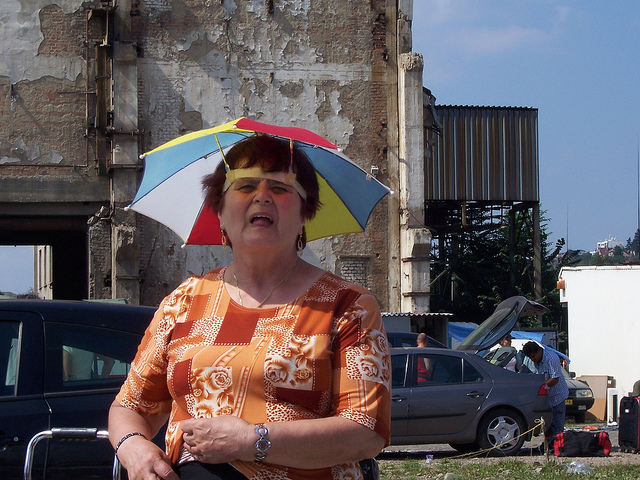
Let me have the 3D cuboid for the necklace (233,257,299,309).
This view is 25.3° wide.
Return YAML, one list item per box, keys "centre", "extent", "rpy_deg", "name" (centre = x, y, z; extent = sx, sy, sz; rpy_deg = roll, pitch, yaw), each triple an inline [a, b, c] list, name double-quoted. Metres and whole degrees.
- centre: [-0.722, 0.753, 22.909]
  extent: [1.150, 0.351, 0.033]
  rpy_deg: [-45, -8, 2]
  name: "necklace"

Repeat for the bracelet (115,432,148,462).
- centre: [-3.039, 3.342, 22.808]
  extent: [0.532, 0.420, 0.111]
  rpy_deg: [-1, -5, 4]
  name: "bracelet"

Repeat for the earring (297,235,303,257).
- centre: [-0.322, 0.065, 23.107]
  extent: [0.073, 0.263, 0.164]
  rpy_deg: [-1, -5, 8]
  name: "earring"
